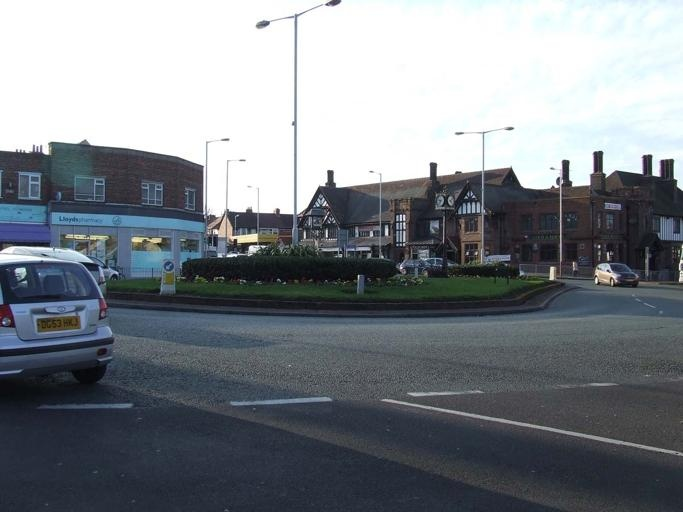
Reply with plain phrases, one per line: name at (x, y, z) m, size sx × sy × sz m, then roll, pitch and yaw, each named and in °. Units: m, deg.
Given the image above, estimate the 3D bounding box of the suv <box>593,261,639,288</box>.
suv at (16.227, 1.159, 43.613) m, size 1.249 × 1.117 × 2.472 m, roll 0°, pitch -3°, yaw -9°

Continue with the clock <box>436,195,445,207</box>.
clock at (5.654, -3.116, 41.374) m, size 0.134 × 0.645 × 0.609 m, roll 5°, pitch -7°, yaw -18°
